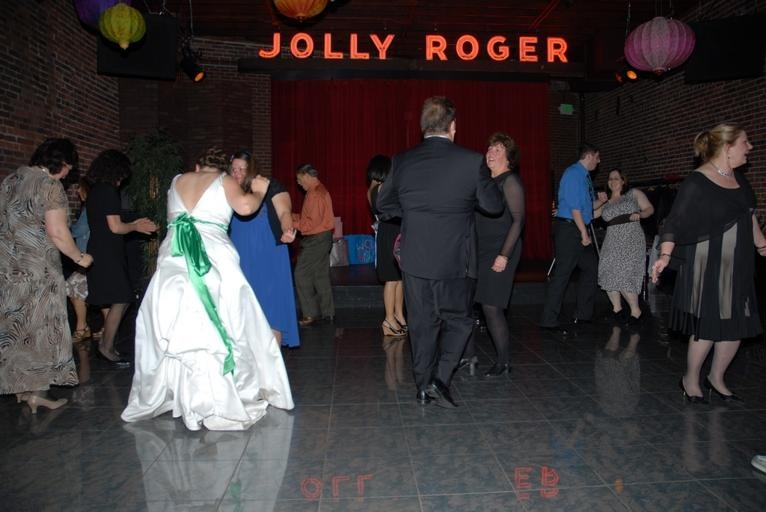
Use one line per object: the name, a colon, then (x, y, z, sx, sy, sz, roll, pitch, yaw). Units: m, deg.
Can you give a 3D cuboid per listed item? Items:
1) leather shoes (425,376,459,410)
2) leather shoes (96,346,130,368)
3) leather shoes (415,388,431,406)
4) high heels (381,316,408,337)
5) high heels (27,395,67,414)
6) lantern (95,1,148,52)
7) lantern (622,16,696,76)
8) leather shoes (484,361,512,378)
leather shoes: (0.455, 1.072, 4.505, 0.142, 0.165, 0.359, -3, -38, 49)
leather shoes: (-2.521, 0.960, 5.461, 0.450, 0.195, 0.152, 2, 3, 9)
leather shoes: (0.326, 1.126, 4.593, 0.077, 0.077, 0.180, 1, 1, 5)
high heels: (0.125, 0.812, 6.417, 0.270, 0.139, 0.151, 0, 0, 32)
high heels: (-2.666, 1.150, 4.534, 0.255, 0.139, 0.139, -5, 8, -28)
lantern: (-3.012, -2.657, 6.605, 0.469, 0.517, 0.342, -6, 14, -6)
lantern: (3.575, -2.626, 7.392, 0.710, 0.781, 0.780, -2, 1, 0)
leather shoes: (1.033, 1.019, 5.107, 0.212, 0.090, 0.113, 0, 1, -8)
